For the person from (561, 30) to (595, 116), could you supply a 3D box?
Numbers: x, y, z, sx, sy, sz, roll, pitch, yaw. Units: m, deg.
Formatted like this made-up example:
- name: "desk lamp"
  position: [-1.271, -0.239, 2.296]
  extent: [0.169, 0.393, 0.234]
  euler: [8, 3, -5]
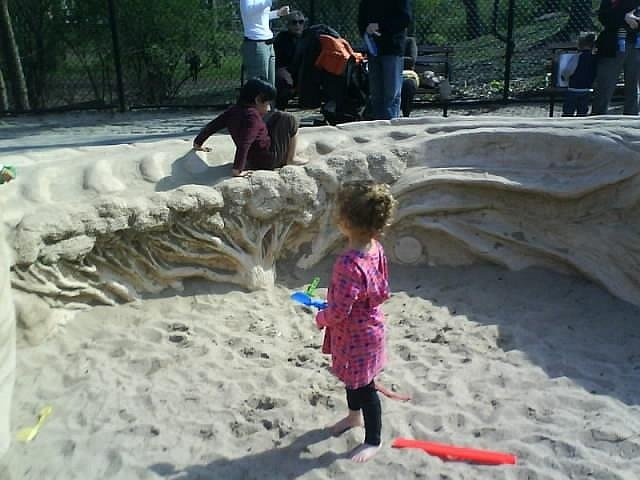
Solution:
- name: "person"
  position: [3.291, -2.136, 9.110]
  extent: [0.400, 1.093, 0.382]
  euler: [7, 22, 19]

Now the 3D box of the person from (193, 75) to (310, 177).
- name: "person"
  position: [-0.652, -1.089, 6.736]
  extent: [0.961, 0.705, 0.820]
  euler: [-16, 34, -34]

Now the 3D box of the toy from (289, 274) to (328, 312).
- name: "toy"
  position: [-0.107, 0.450, 5.996]
  extent: [0.413, 0.183, 0.138]
  euler: [33, -3, 43]

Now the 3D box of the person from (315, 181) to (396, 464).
- name: "person"
  position: [0.232, 0.551, 4.943]
  extent: [0.499, 1.848, 0.678]
  euler: [2, 21, 6]

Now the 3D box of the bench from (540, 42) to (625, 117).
- name: "bench"
  position: [3.285, -2.065, 9.278]
  extent: [0.642, 1.332, 0.468]
  euler: [3, 4, -7]

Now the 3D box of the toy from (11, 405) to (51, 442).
- name: "toy"
  position: [-2.037, 1.316, 5.084]
  extent: [0.103, 0.033, 0.282]
  euler: [-1, 28, 13]
